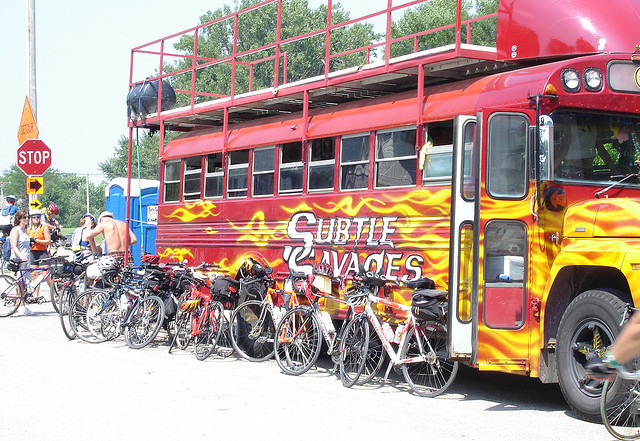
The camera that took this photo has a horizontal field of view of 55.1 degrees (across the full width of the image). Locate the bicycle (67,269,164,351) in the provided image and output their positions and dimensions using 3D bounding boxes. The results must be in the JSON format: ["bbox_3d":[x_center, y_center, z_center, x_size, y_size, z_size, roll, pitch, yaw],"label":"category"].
[{"bbox_3d":[-3.816,1.701,11.634,2.087,1.322,0.991,3,-20,19],"label":"bicycle"}]

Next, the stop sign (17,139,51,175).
[{"bbox_3d":[-7.672,-1.662,16.233,0.929,0.987,0.094,-1,0,-5],"label":"stop sign"}]

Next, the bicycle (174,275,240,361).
[{"bbox_3d":[-2.023,1.690,10.659,0.785,1.004,1.590,24,-4,-32],"label":"bicycle"}]

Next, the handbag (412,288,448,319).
[{"bbox_3d":[1.468,1.108,8.215,0.543,0.382,0.423,2,2,33],"label":"handbag"}]

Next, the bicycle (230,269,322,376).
[{"bbox_3d":[-0.716,1.710,10.163,1.187,1.522,2.269,19,-14,-40],"label":"bicycle"}]

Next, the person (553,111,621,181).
[{"bbox_3d":[3.331,-0.913,7.678,0.724,1.136,0.324,4,-13,-18],"label":"person"}]

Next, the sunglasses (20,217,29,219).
[{"bbox_3d":[-7.685,-0.049,15.725,0.102,0.059,0.306,1,-2,0],"label":"sunglasses"}]

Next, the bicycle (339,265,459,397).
[{"bbox_3d":[1.056,1.619,8.663,0.580,1.636,2.491,7,-11,-36],"label":"bicycle"}]

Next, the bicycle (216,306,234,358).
[{"bbox_3d":[-1.714,1.953,10.812,0.092,0.925,0.882,-2,8,-30],"label":"bicycle"}]
